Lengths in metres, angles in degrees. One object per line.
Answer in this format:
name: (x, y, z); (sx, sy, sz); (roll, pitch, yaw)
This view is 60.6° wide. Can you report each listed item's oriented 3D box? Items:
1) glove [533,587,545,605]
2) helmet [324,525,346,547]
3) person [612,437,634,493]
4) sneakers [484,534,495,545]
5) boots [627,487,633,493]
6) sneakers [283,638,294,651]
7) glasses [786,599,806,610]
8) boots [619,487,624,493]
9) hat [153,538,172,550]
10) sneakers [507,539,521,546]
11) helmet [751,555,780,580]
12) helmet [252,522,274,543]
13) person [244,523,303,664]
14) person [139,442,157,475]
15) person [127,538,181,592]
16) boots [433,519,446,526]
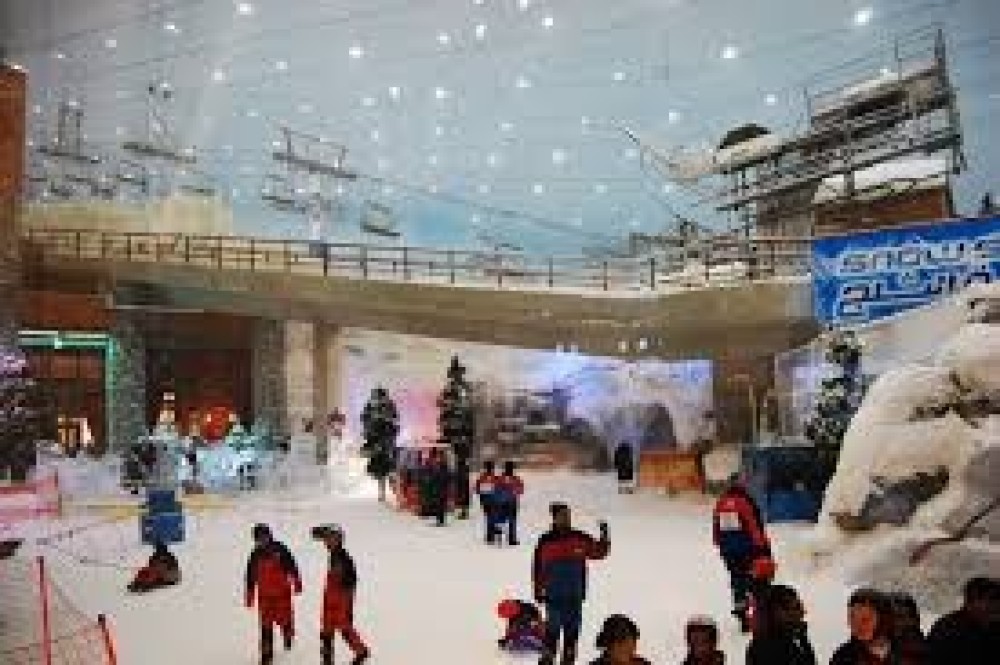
glove: (0.715, 4.874, 15.901); (0.249, 0.387, 0.250); (-1, -9, -4)
helmet: (-3.239, 3.963, 16.682); (0.323, 0.419, 0.371); (-1, -4, -17)
person: (4.433, 4.754, 30.763); (0.575, 1.864, 0.959); (-2, -4, 3)
sneakers: (-0.289, 5.328, 22.162); (0.336, 0.242, 0.181); (-1, -8, 5)
boots: (4.635, 5.653, 30.764); (0.143, 0.157, 0.143); (-3, -2, 5)
sneakers: (-4.271, 6.243, 17.228); (0.171, 0.289, 0.102); (0, 2, 0)
glasses: (4.926, 4.509, 14.166); (0.318, 0.188, 0.079); (1, -5, -36)
boots: (4.366, 5.632, 30.685); (0.192, 0.175, 0.134); (-1, -7, -6)
hat: (-7.945, 4.947, 20.239); (0.311, 0.186, 0.307); (2, 4, 10)
sneakers: (0.348, 5.377, 21.955); (0.293, 0.125, 0.247); (-1, -4, -14)
helmet: (4.954, 4.449, 16.087); (0.574, 0.292, 0.402); (-14, 9, -42)
helmet: (-4.720, 3.977, 17.006); (0.314, 0.362, 0.402); (-2, -15, -11)
person: (-4.553, 5.144, 17.140); (1.007, 2.747, 0.810); (-1, -4, -17)
person: (-12.949, 4.606, 31.584); (0.457, 1.356, 0.965); (-1, 7, -39)
person: (-8.068, 5.428, 20.037); (0.997, 0.991, 1.364); (1, 3, 15)
boots: (-1.780, 5.481, 24.767); (0.347, 0.264, 0.137); (0, -5, 18)
